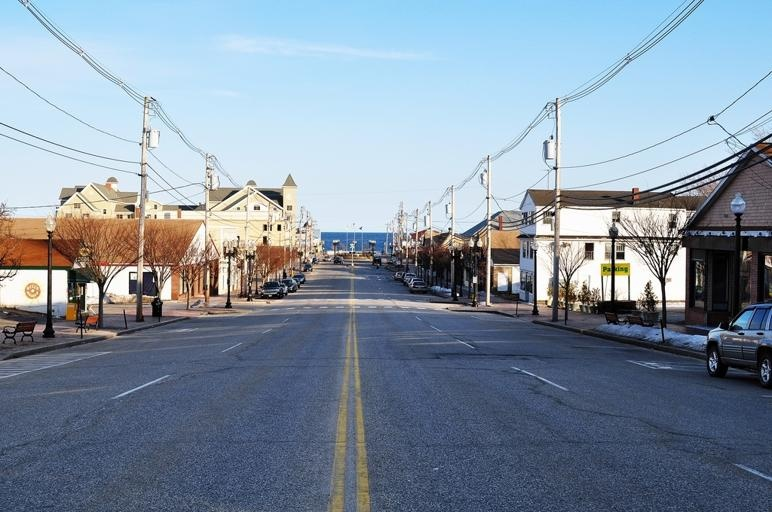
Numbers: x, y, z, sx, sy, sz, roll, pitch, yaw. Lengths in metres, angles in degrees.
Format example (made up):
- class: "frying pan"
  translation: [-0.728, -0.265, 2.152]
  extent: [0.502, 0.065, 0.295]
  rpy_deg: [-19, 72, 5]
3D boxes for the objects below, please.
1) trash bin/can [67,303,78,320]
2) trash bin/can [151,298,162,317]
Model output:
- class: "trash bin/can"
  translation: [-17.668, 3.159, 40.625]
  extent: [0.859, 1.082, 0.718]
  rpy_deg: [2, -5, -22]
- class: "trash bin/can"
  translation: [-14.202, 3.211, 44.790]
  extent: [0.552, 1.245, 1.174]
  rpy_deg: [0, 1, -20]
